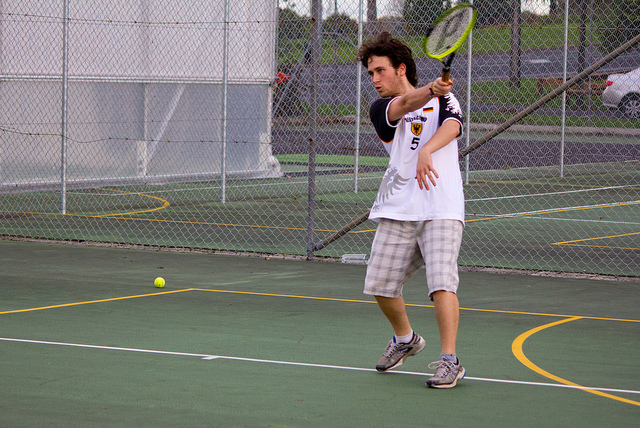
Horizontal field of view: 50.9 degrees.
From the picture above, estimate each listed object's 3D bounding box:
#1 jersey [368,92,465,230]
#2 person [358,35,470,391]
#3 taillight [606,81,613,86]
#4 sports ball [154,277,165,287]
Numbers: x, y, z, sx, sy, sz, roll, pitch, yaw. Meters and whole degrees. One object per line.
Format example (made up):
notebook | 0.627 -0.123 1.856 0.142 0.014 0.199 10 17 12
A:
jersey | 0.629 -0.364 4.439 0.638 0.865 0.449 2 7 13
person | 0.645 -0.020 4.463 0.459 2.318 0.688 -6 9 -43
taillight | 9.762 -4.421 22.717 0.223 0.142 0.146 7 9 41
sports ball | -1.779 0.752 7.421 0.090 0.090 0.106 -16 -17 37
